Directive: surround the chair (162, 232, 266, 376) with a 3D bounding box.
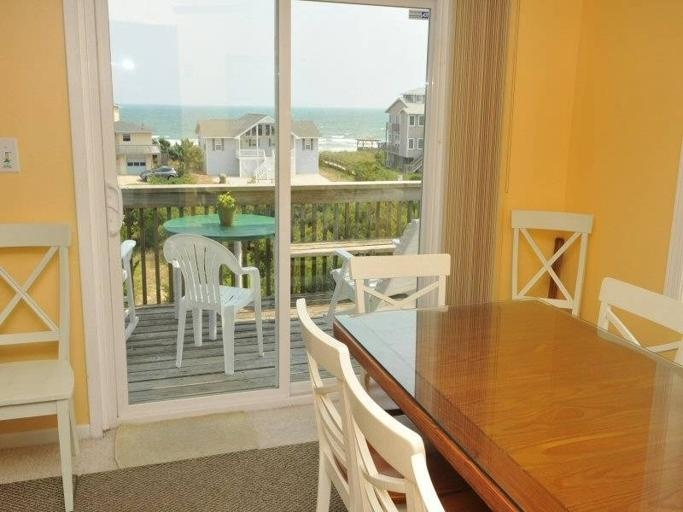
[{"bbox_3d":[-0.790,0.260,3.526,0.590,0.898,0.586,-7,16,-31],"label":"chair"}]

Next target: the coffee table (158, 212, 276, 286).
[{"bbox_3d":[-0.689,-0.053,3.317,0.362,0.248,0.369,3,12,10],"label":"coffee table"}]

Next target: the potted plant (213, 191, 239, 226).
[{"bbox_3d":[-0.698,-0.292,3.285,0.129,0.181,0.106,15,28,26],"label":"potted plant"}]
